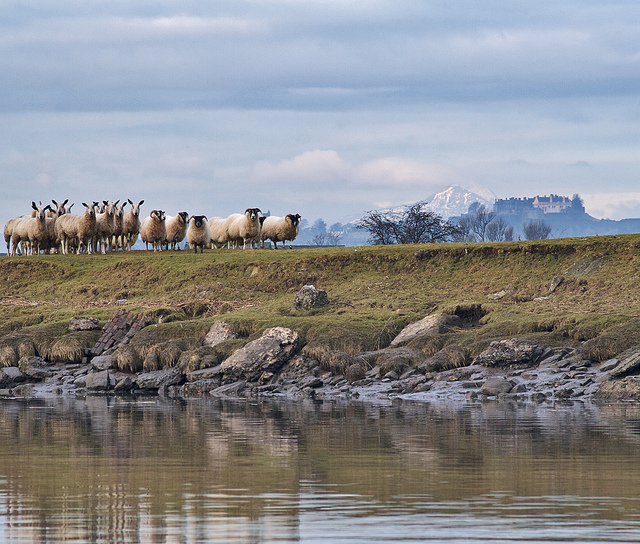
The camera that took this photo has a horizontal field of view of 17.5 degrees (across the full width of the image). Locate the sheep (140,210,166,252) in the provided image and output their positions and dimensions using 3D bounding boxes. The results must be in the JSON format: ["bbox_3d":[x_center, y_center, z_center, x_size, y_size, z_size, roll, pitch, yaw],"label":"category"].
[{"bbox_3d":[-10.865,-2.619,136.617,1.549,2.612,4.006,2,-3,-18],"label":"sheep"}]

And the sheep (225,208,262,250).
[{"bbox_3d":[-4.956,-2.711,135.442,1.740,2.519,4.210,0,-2,-27],"label":"sheep"}]
